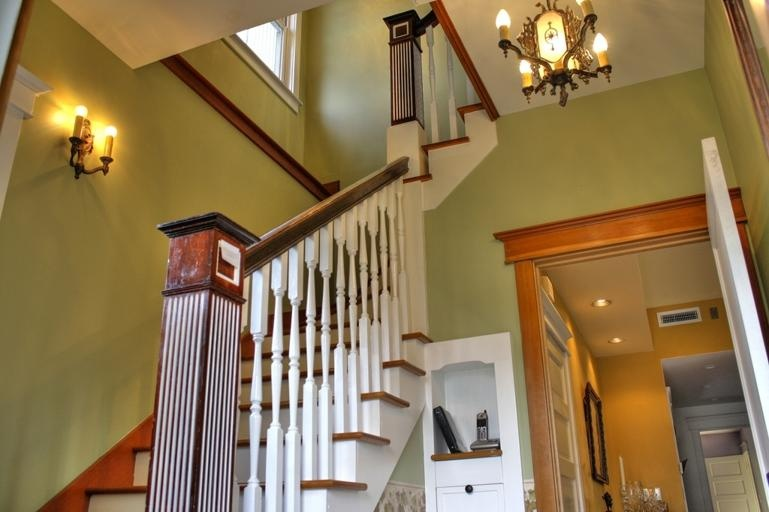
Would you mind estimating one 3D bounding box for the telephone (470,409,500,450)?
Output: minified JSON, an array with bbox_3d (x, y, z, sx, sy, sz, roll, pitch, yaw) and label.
[{"bbox_3d":[0.728,1.277,4.074,0.215,0.295,0.188,-5,-14,11],"label":"telephone"}]
